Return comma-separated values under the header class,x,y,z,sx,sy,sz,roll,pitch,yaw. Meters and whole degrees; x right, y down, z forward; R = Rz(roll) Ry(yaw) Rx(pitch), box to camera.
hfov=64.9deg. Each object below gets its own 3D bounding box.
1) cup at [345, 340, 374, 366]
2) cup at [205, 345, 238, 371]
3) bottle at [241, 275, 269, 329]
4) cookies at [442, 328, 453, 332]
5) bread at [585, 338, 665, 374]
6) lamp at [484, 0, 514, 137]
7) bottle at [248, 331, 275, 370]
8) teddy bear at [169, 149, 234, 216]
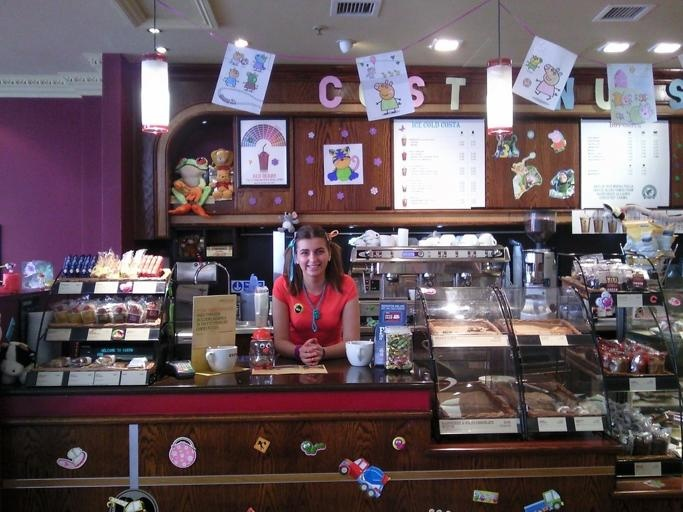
class,x,y,z,sx,sy,sz,roll,pitch,yaw
cup,0.107,0.546,3.045,0.122,0.094,0.146,-2,-4,5
cup,-0.653,0.560,2.956,0.179,0.139,0.123,-2,2,-24
bottle,-0.731,0.381,4.662,0.241,0.419,0.352,-3,2,-36
cookies,0.583,0.402,2.932,0.049,0.015,0.046,-1,2,7
bread,1.696,0.582,3.147,0.352,0.167,0.286,-1,2,17
lamp,1.007,-1.010,3.421,0.150,0.459,0.174,-1,2,13
bottle,-0.453,0.512,3.077,0.142,0.207,0.225,-2,2,-8
teddy bear,-1.297,-0.657,4.998,0.617,0.667,0.293,1,-15,-8
